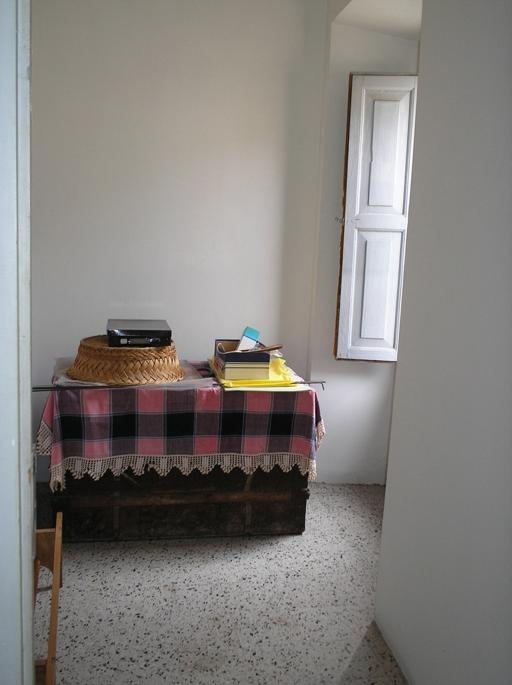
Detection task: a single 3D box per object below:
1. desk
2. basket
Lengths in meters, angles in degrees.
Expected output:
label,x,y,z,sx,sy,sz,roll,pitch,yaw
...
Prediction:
label,x,y,z,sx,sy,sz,roll,pitch,yaw
desk,-0.372,0.324,2.622,0.959,0.511,0.844,-1,11,-10
basket,-0.550,0.083,2.318,0.481,0.151,0.248,1,7,-8
